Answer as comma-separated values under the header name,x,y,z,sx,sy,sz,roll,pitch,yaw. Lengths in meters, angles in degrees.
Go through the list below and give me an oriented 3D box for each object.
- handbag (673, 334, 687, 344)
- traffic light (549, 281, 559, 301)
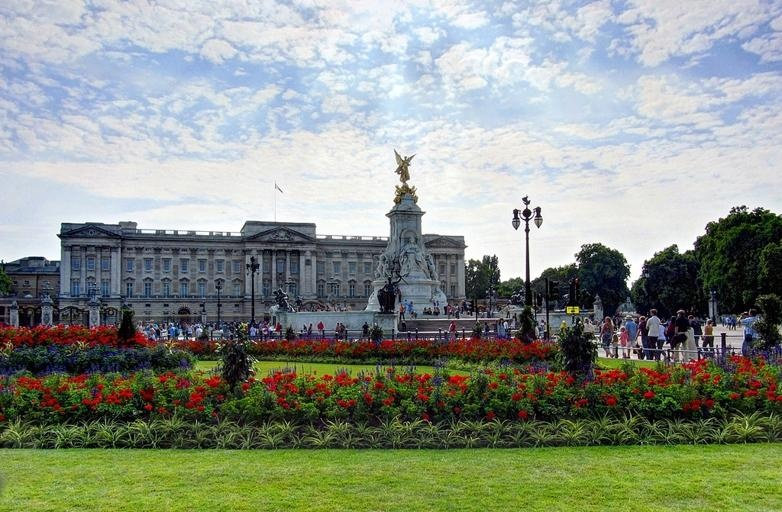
name,x,y,z,sx,sy,sz,roll,pitch,yaw
handbag,10.018,2.888,33.496,0.355,0.408,0.193,15,-2,-27
traffic light,6.479,1.285,38.393,0.350,0.696,0.723,-1,-8,5
